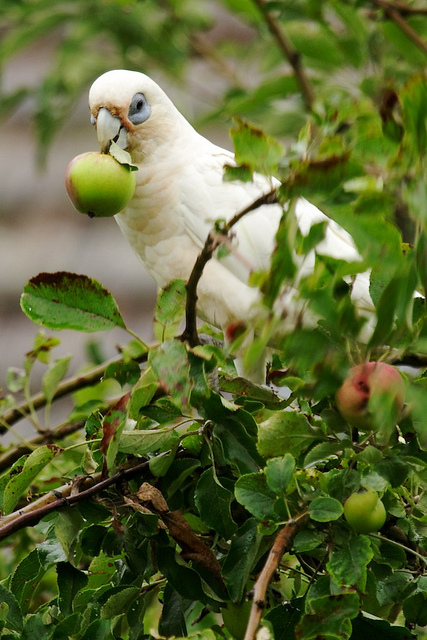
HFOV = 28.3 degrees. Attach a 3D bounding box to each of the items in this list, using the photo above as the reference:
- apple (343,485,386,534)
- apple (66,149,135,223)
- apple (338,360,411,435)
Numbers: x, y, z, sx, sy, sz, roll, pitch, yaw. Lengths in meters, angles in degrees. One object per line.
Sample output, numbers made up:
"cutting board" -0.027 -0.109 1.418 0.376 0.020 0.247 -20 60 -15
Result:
"apple" 0.093 0.119 0.531 0.026 0.027 0.026 6 2 42
"apple" -0.089 -0.104 0.663 0.052 0.053 0.055 3 30 -2
"apple" 0.094 0.045 0.509 0.045 0.042 0.045 -2 57 24
